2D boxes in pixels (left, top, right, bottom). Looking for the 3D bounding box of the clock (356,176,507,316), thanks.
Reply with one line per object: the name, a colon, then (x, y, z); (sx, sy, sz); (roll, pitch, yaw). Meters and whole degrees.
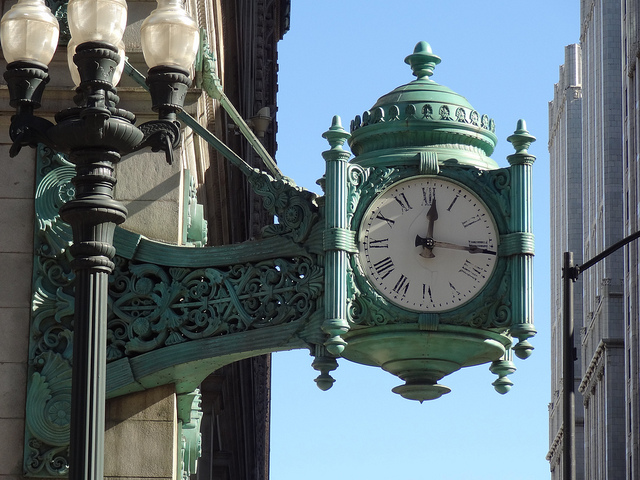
clock: (1.886, 0.267, 41.304); (2.430, 2.197, 0.158); (1, -10, -2)
